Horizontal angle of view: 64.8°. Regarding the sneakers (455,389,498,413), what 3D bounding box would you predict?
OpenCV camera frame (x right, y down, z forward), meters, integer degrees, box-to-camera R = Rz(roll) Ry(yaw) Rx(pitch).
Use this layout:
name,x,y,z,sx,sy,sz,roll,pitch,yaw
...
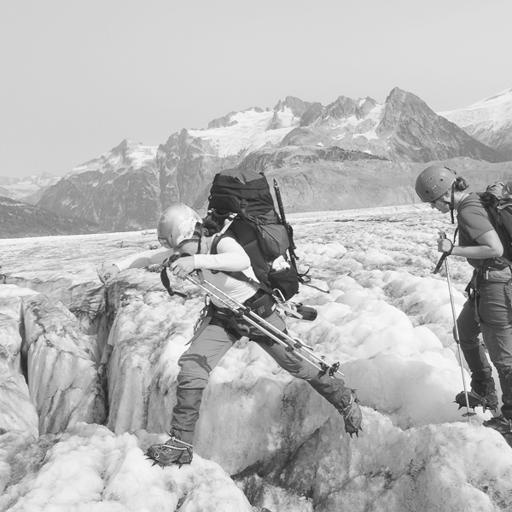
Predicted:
name,x,y,z,sx,sy,sz,roll,pitch,yaw
sneakers,2.172,1.372,3.905,0.427,0.173,0.262,8,-16,7

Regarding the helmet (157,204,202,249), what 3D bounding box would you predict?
name,x,y,z,sx,sy,sz,roll,pitch,yaw
helmet,-0.741,-0.296,3.907,0.326,0.340,0.422,-18,20,45
